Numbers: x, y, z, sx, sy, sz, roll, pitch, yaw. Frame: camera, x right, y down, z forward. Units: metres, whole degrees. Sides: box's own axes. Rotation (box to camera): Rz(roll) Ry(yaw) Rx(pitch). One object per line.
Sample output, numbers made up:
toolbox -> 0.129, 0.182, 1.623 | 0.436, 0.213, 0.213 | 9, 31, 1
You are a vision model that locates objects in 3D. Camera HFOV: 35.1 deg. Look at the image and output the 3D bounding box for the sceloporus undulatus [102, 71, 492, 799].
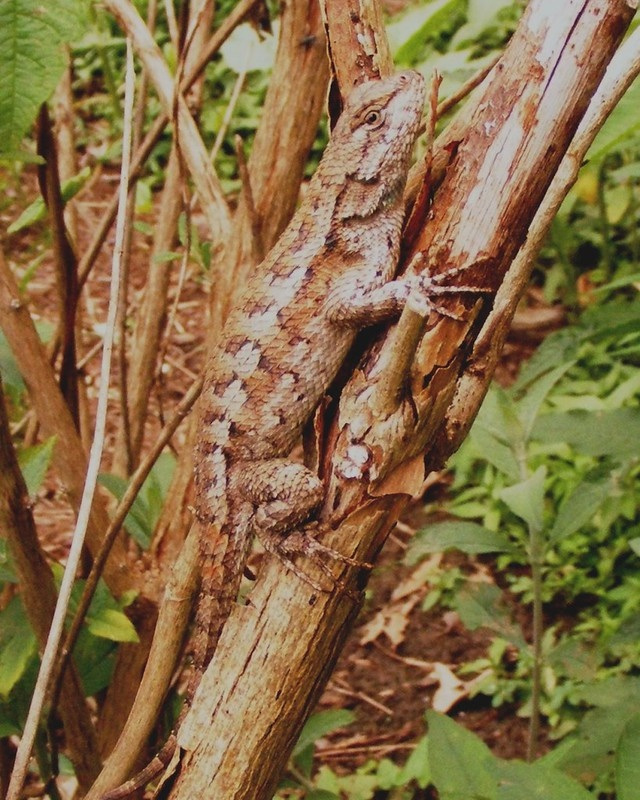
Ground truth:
sceloporus undulatus -> 0.146, 0.100, 2.947 | 0.521, 1.881, 0.873 | 20, 7, -39
